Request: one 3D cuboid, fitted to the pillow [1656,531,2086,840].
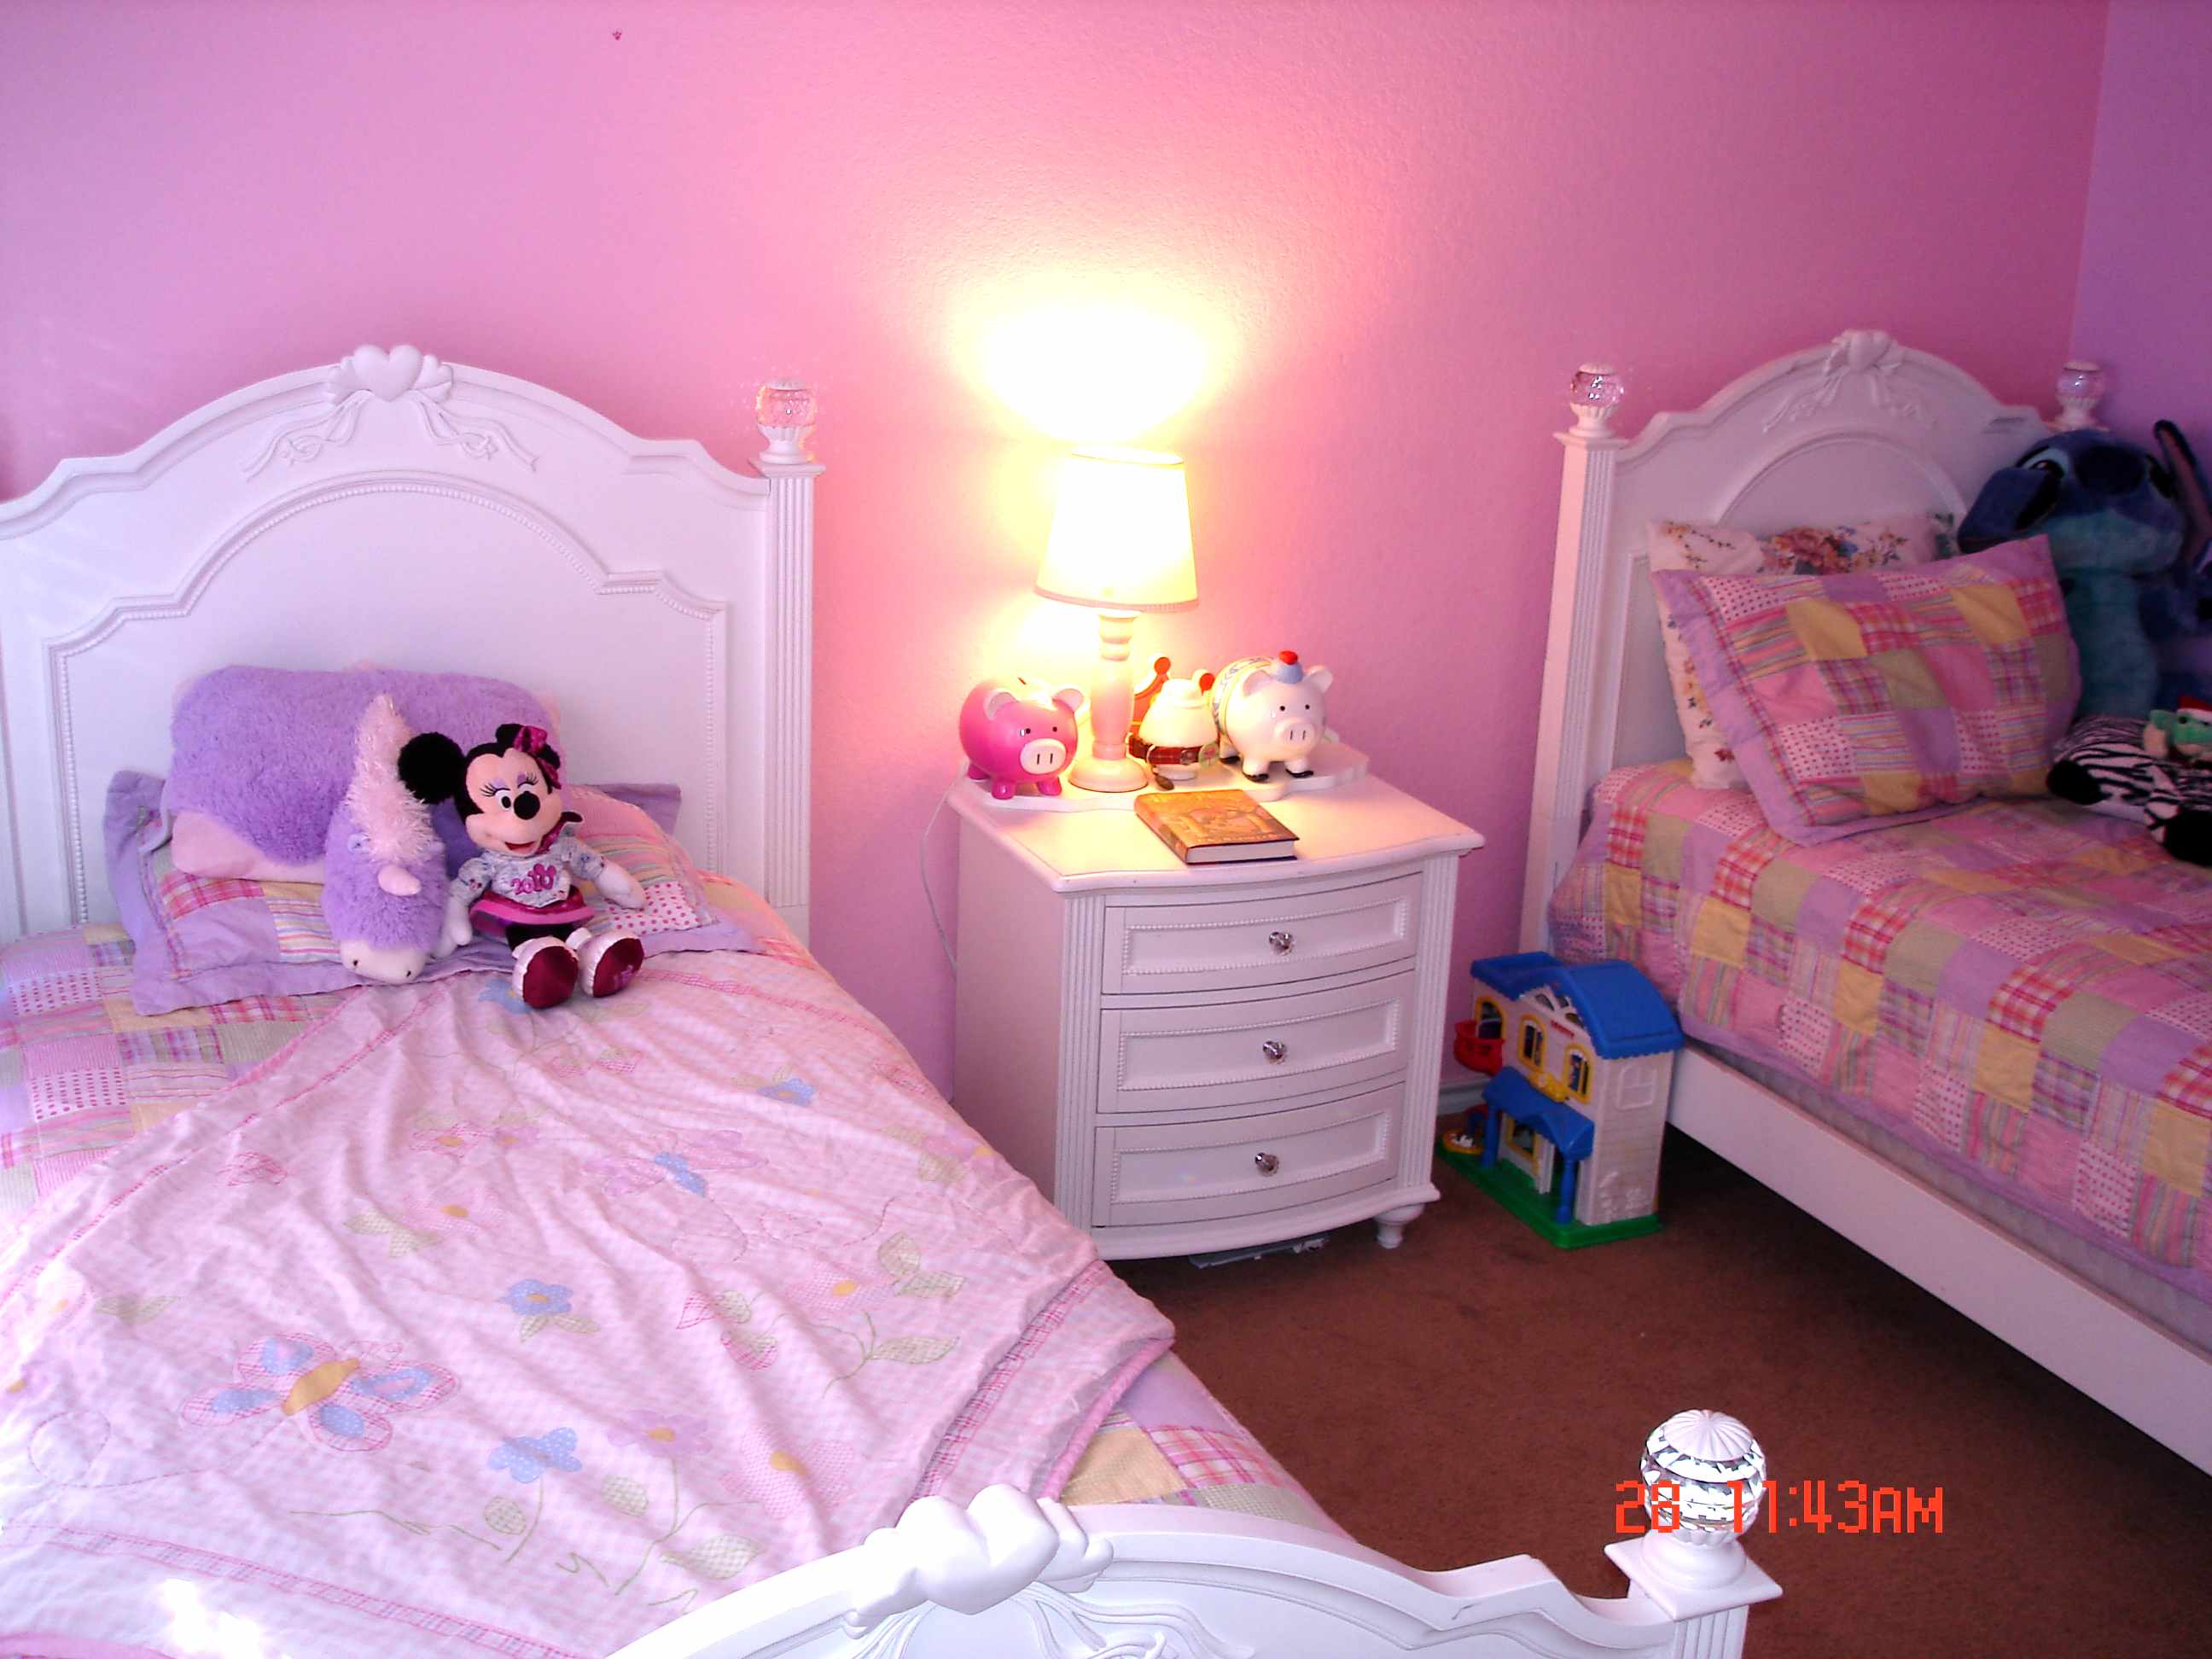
[{"bbox_3d":[1.449,-0.223,3.133,0.790,0.522,0.230,-9,-13,-20],"label":"pillow"}]

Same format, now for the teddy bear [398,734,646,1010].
[{"bbox_3d":[-0.818,0.044,2.206,0.266,0.356,0.313,-15,32,-39],"label":"teddy bear"}]

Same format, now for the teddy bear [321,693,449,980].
[{"bbox_3d":[-0.988,0.011,2.164,0.143,0.373,0.172,-2,-9,-20],"label":"teddy bear"}]

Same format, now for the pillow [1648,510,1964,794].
[{"bbox_3d":[1.379,-0.351,3.342,0.767,0.530,0.207,-8,-4,-23],"label":"pillow"}]

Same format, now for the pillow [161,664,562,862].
[{"bbox_3d":[-1.106,-0.093,2.265,0.426,0.144,0.286,3,32,-18],"label":"pillow"}]

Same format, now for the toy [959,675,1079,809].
[{"bbox_3d":[-0.162,-0.163,2.852,0.178,0.178,0.229,-6,17,-28],"label":"toy"}]

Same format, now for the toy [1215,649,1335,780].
[{"bbox_3d":[0.268,-0.207,2.910,0.166,0.209,0.274,-5,16,-15],"label":"toy"}]
